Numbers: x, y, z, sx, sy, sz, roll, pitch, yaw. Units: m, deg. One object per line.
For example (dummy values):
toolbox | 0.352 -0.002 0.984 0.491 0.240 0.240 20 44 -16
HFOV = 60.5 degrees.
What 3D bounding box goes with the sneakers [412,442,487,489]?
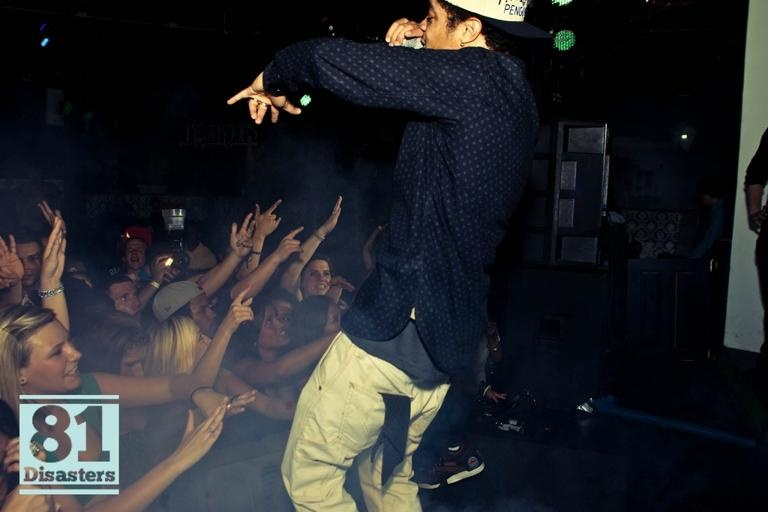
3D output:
sneakers | 0.495 1.589 5.117 0.652 0.282 0.235 -14 2 -11
